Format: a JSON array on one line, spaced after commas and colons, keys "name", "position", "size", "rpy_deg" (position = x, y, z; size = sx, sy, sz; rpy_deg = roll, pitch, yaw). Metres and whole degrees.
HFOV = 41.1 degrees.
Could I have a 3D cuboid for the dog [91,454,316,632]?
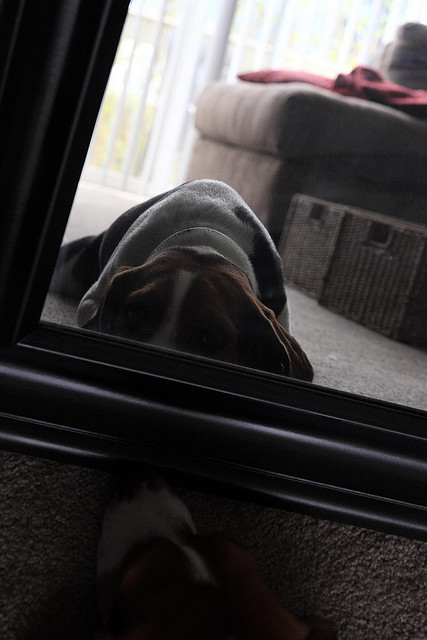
[{"name": "dog", "position": [-0.014, 0.198, 0.494], "size": [0.169, 0.099, 0.162], "rpy_deg": [0, 26, -18]}]
